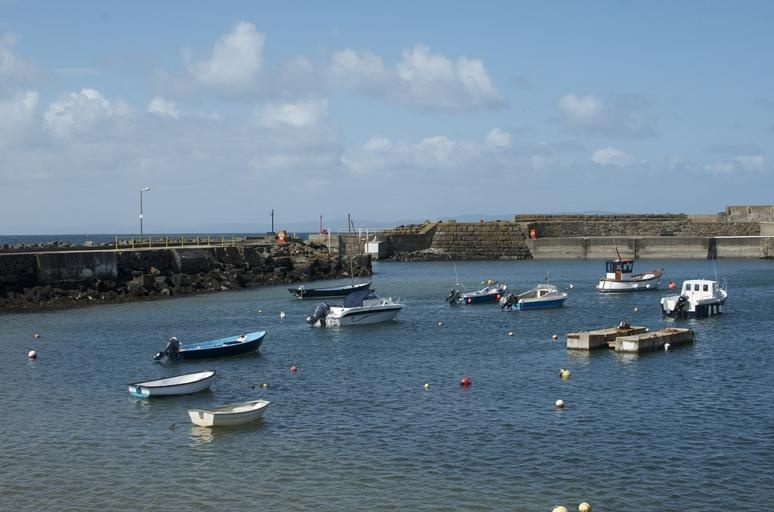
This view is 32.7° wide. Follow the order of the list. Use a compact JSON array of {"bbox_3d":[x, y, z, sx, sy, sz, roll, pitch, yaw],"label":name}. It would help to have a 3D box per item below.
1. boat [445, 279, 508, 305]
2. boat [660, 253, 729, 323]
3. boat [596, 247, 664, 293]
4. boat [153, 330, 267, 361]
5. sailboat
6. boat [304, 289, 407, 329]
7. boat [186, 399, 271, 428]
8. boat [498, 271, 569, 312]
[{"bbox_3d":[6.321,2.672,89.332,4.732,1.489,1.787,-4,7,-24],"label":"boat"},{"bbox_3d":[19.568,2.402,82.498,2.295,2.605,6.855,5,9,39],"label":"boat"},{"bbox_3d":[17.942,1.418,97.394,6.583,2.490,2.319,-2,3,-42],"label":"boat"},{"bbox_3d":[-9.439,4.870,70.579,6.301,1.277,1.919,-7,16,-13],"label":"boat"},{"bbox_3d":[-3.797,0.182,93.626,6.887,5.427,1.412,-2,1,-37],"label":"sailboat"},{"bbox_3d":[-1.787,3.313,79.194,5.340,1.654,2.448,-4,4,-22],"label":"boat"},{"bbox_3d":[-7.157,7.321,60.845,2.692,0.693,1.562,-6,6,-30],"label":"boat"},{"bbox_3d":[9.566,2.430,85.938,5.121,2.072,2.155,-7,8,-28],"label":"boat"}]
